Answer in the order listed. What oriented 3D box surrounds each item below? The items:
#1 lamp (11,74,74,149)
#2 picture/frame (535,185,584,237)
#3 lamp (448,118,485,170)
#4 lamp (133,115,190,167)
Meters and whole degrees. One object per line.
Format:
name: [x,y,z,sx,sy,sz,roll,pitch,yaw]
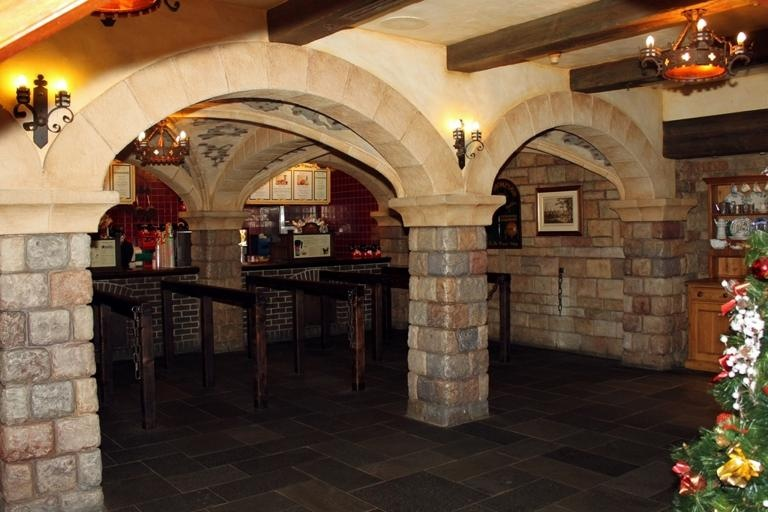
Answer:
lamp: [-2.394,-1.006,3.834,0.376,0.504,0.143,-4,7,-27]
picture/frame: [2.777,-0.708,8.695,0.094,0.775,0.775,-8,9,-43]
lamp: [0.890,-1.159,5.713,0.433,0.524,0.197,-6,8,-39]
lamp: [-2.797,-1.415,6.862,0.757,0.456,0.665,-4,10,-27]
